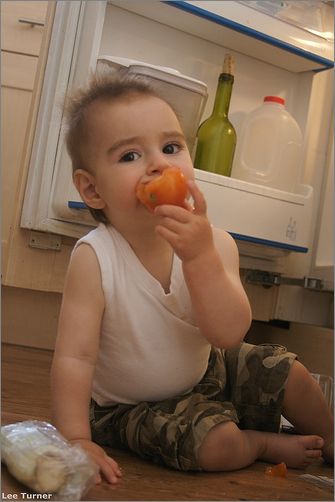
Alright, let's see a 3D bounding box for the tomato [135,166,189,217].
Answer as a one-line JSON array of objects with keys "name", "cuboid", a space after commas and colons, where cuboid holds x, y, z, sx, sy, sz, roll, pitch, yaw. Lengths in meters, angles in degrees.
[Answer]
[{"name": "tomato", "cuboid": [0.000, -0.078, 0.560, 0.059, 0.055, 0.052, 15, 11, 12]}]
